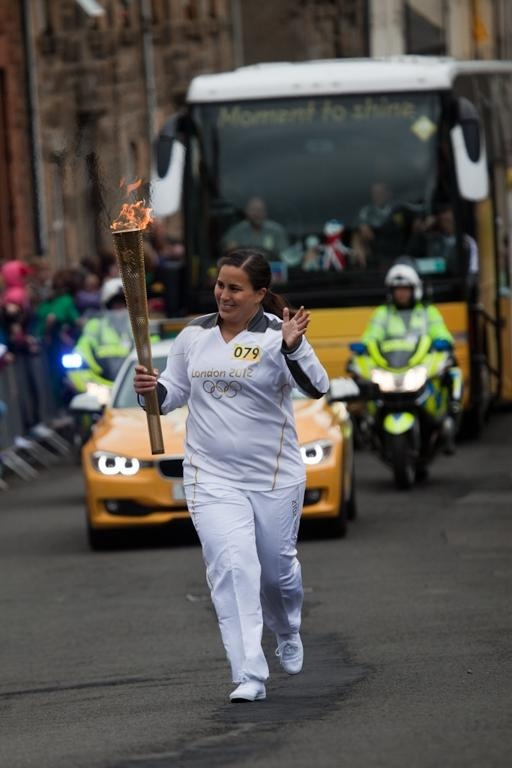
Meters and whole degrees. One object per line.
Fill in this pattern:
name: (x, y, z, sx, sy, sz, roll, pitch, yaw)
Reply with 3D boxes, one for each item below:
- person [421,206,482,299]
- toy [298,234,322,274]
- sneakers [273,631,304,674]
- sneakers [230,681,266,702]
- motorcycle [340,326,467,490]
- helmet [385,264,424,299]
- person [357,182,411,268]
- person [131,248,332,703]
person: (2.174, -1.440, 12.880, 0.741, 0.965, 0.409, 15, 11, 28)
toy: (0.629, -1.499, 13.256, 0.246, 0.380, 0.101, 6, 3, 25)
sneakers: (0.115, 0.960, 4.144, 0.082, 0.162, 0.066, -5, -2, 7)
sneakers: (-0.023, 0.974, 3.680, 0.052, 0.053, 0.130, -8, -12, 37)
motorcycle: (1.375, 0.292, 10.278, 0.791, 1.444, 1.043, -4, 16, -1)
helmet: (1.342, -0.906, 10.409, 0.263, 0.277, 0.343, -2, 13, 8)
person: (1.490, -1.764, 13.066, 0.619, 0.964, 0.260, 8, 20, 35)
person: (-0.021, 0.365, 3.967, 0.607, 1.556, 0.899, -7, 17, -10)
